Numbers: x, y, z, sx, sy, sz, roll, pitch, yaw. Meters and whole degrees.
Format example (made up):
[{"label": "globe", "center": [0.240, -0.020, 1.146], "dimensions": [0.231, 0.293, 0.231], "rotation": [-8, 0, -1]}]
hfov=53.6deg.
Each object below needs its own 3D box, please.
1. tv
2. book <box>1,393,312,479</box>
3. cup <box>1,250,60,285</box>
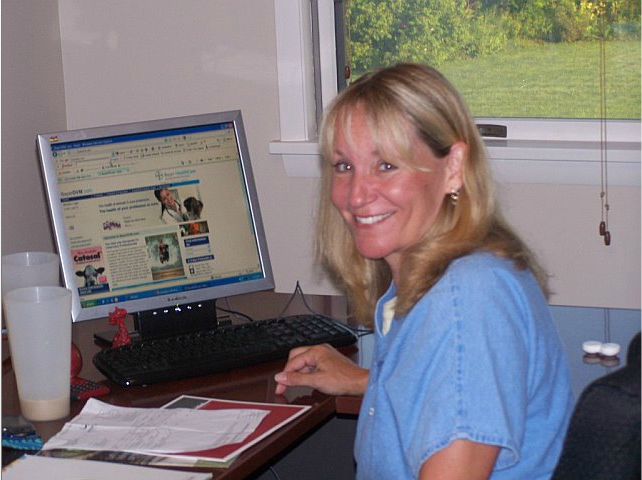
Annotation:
[{"label": "tv", "center": [-0.420, -0.013, 1.605], "dimensions": [0.569, 0.540, 0.222], "rotation": [-14, 13, -19]}, {"label": "book", "center": [-0.269, 0.347, 1.198], "dimensions": [0.485, 0.073, 0.249], "rotation": [-7, 8, 3]}, {"label": "cup", "center": [-0.627, 0.050, 1.367], "dimensions": [0.080, 0.070, 0.091], "rotation": [0, 0, -1]}]
